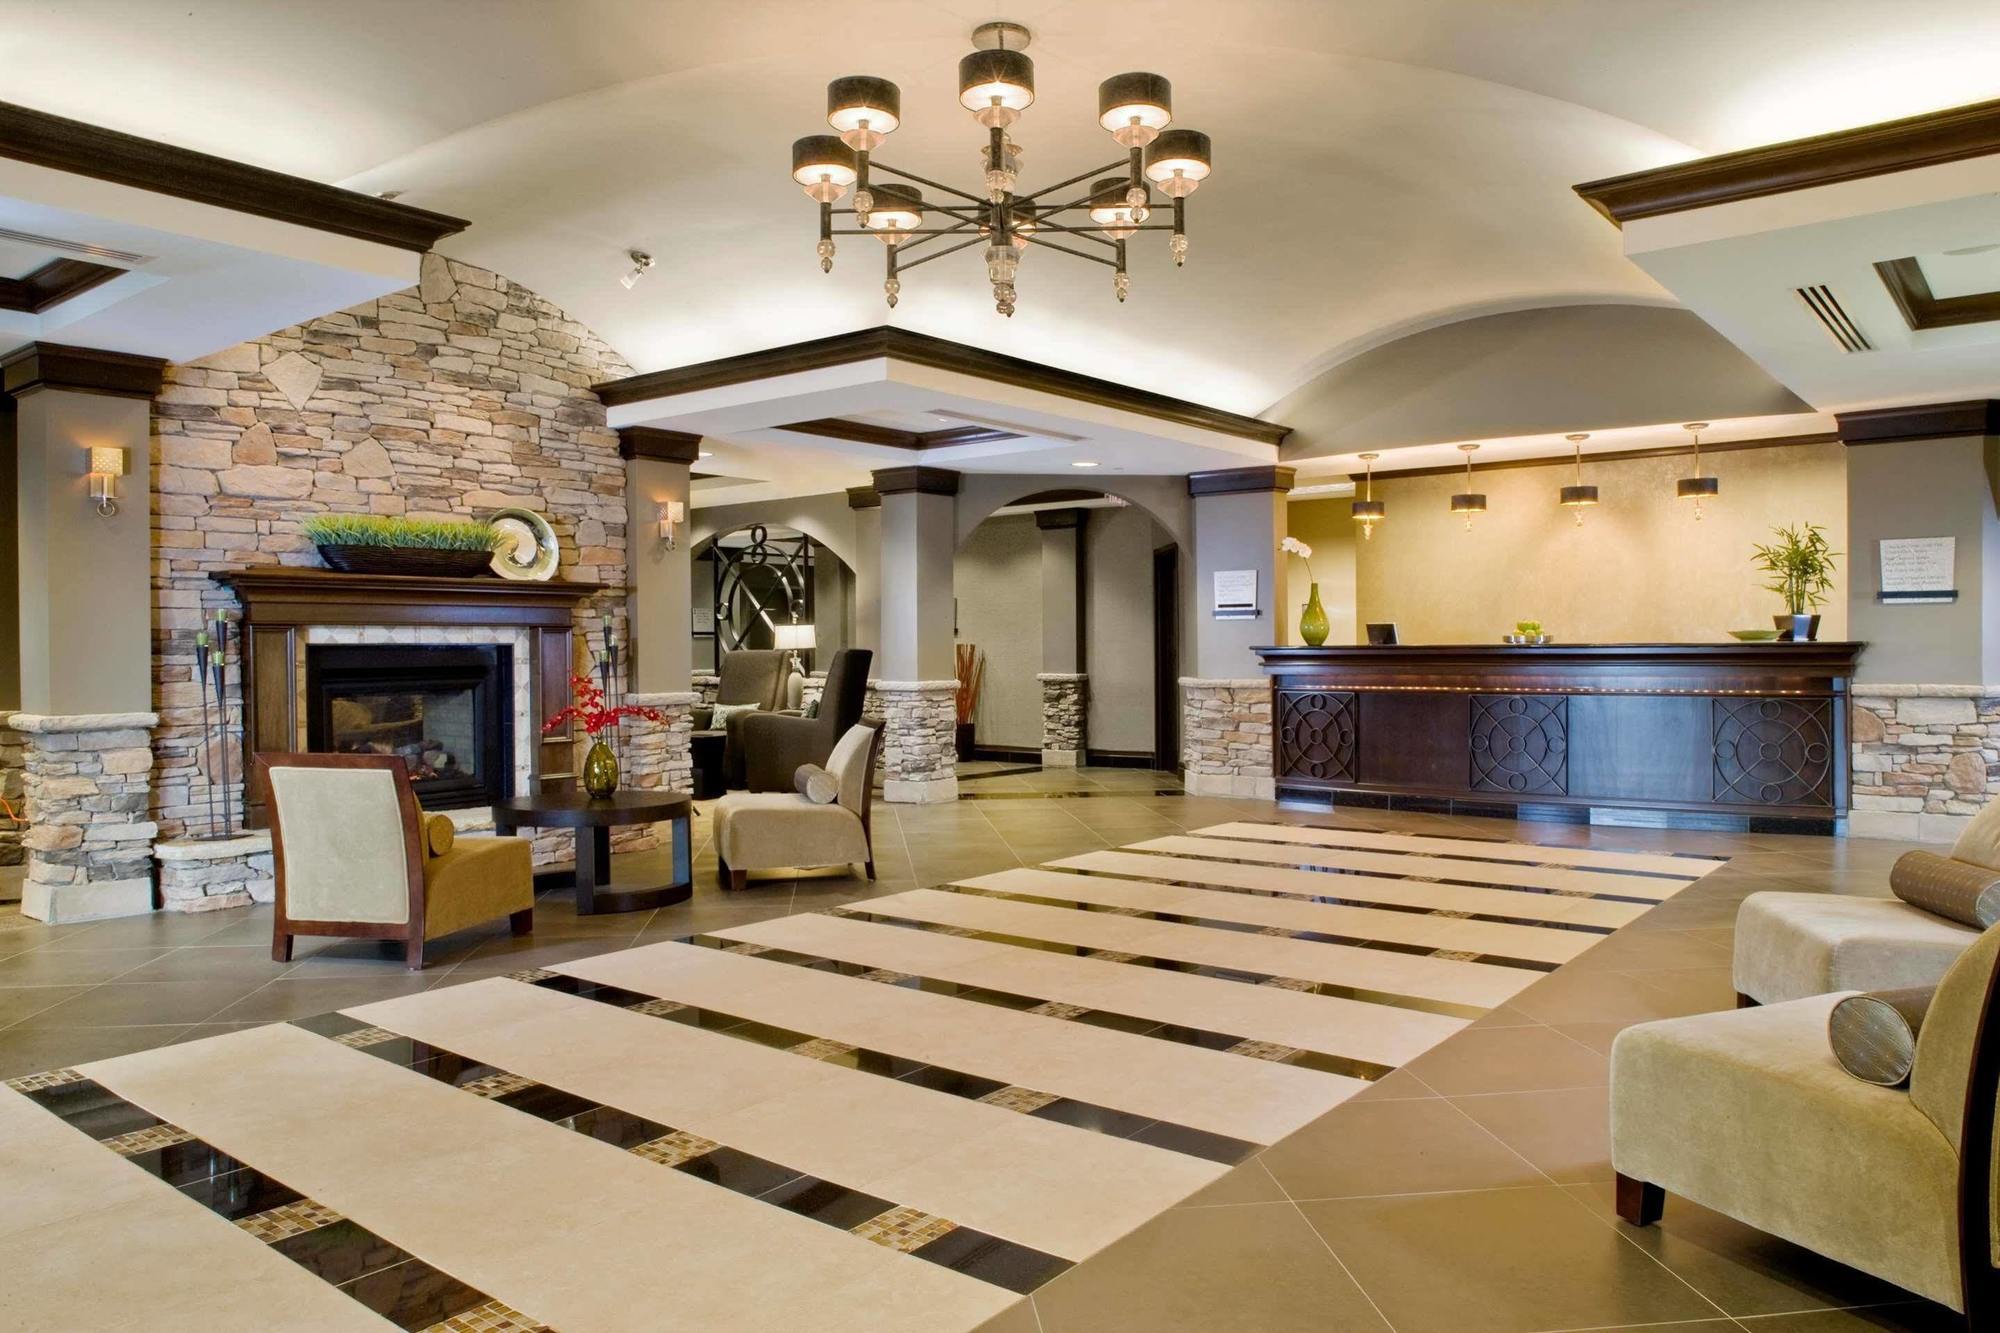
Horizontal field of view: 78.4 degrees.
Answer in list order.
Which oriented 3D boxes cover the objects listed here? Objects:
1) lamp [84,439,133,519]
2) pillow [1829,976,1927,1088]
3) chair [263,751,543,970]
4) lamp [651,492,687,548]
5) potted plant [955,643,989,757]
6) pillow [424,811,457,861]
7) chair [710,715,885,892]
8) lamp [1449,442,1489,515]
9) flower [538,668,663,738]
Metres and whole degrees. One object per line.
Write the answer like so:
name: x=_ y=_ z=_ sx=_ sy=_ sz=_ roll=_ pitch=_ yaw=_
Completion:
lamp: x=-5.503 y=-1.165 z=7.543 sx=0.229 sy=0.396 sz=0.134 roll=-5 pitch=9 yaw=-31
pillow: x=2.682 y=1.124 z=3.756 sx=0.347 sy=0.143 sz=0.146 roll=-6 pitch=41 yaw=-47
chair: x=-3.265 y=0.964 z=6.909 sx=1.238 sy=1.196 sz=1.199 roll=-1 pitch=-2 yaw=23
lamp: x=-2.705 y=-1.191 z=10.041 sx=0.104 sy=0.349 sz=0.291 roll=5 pitch=9 yaw=38
potted plant: x=-0.366 y=0.430 z=16.227 sx=0.392 sy=1.451 sz=0.473 roll=-1 pitch=7 yaw=-1
pillow: x=-3.052 y=0.913 z=6.735 sx=0.217 sy=0.243 sz=0.265 roll=-3 pitch=-1 yaw=-35
chair: x=-1.476 y=0.942 z=8.852 sx=1.151 sy=1.017 sz=1.100 roll=2 pitch=-5 yaw=-16
lamp: x=4.669 y=-1.830 z=12.272 sx=0.372 sy=0.616 sz=1.795 roll=2 pitch=7 yaw=20
flower: x=-2.969 y=0.309 z=8.908 sx=0.626 sy=0.394 sz=0.626 roll=-4 pitch=-3 yaw=36
